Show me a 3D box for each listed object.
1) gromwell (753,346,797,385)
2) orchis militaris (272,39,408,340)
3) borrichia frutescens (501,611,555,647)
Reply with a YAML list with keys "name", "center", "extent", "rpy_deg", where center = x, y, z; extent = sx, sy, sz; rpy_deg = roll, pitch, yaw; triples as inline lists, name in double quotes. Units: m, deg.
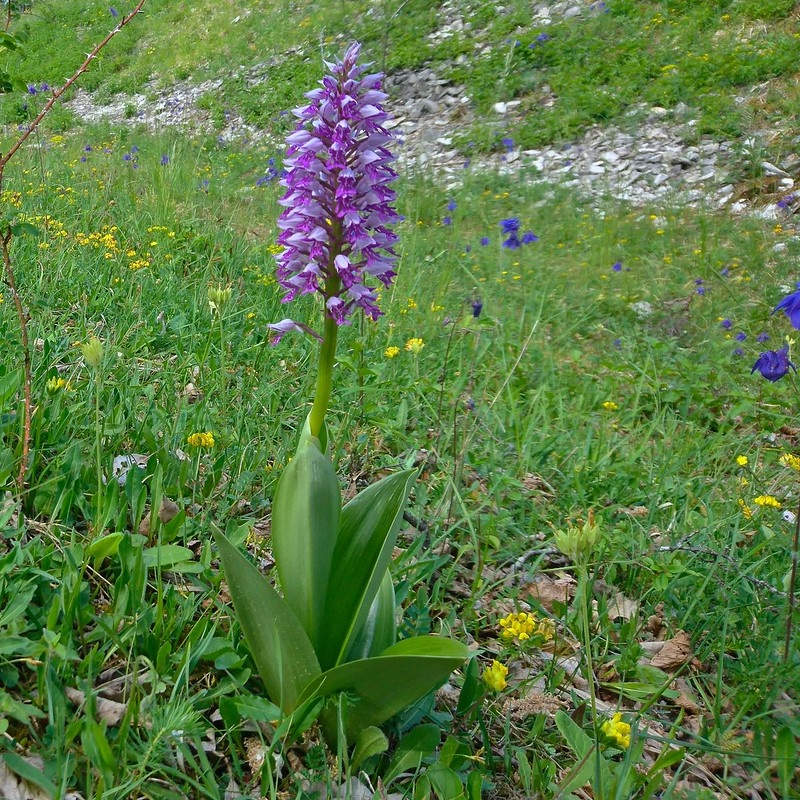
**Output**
- name: "gromwell"
  center: [1.443, -0.125, 3.190]
  extent: [0.142, 0.080, 0.174]
  rpy_deg: [-16, 61, 35]
- name: "orchis militaris"
  center: [-0.149, -0.477, 1.854]
  extent: [0.292, 0.551, 0.253]
  rpy_deg: [-5, 25, -1]
- name: "borrichia frutescens"
  center: [0.305, 0.557, 2.020]
  extent: [0.117, 0.074, 0.136]
  rpy_deg: [0, -16, -18]
